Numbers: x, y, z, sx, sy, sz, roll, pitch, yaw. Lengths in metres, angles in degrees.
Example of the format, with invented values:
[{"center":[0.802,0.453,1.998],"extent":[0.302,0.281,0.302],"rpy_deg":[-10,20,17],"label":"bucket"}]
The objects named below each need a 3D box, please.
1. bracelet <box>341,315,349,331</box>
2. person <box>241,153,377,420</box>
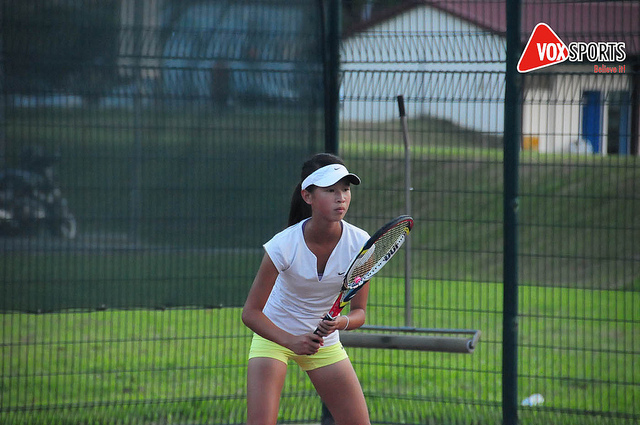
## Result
[{"center":[0.239,1.049,10.750],"extent":[0.061,0.146,0.121],"rpy_deg":[-1,4,8],"label":"bracelet"},{"center":[-0.087,0.733,10.765],"extent":[1.255,2.546,0.624],"rpy_deg":[-2,4,0],"label":"person"}]
